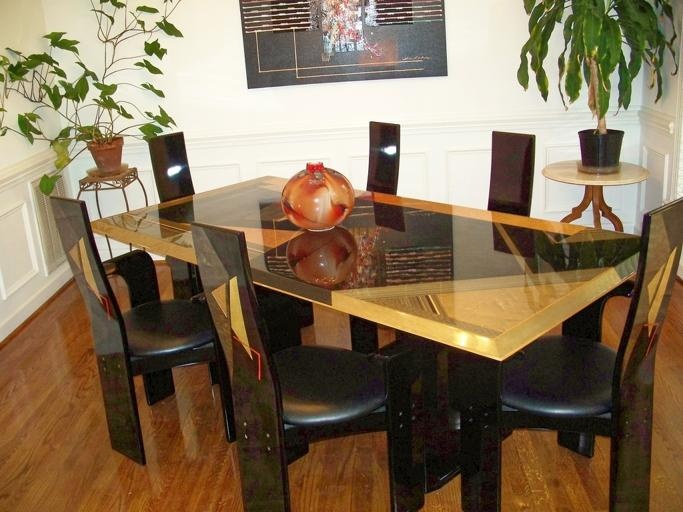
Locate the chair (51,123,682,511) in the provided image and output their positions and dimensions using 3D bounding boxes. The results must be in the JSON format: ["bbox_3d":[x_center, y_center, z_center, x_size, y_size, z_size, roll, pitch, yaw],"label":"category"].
[{"bbox_3d":[0.092,0.277,2.456,1.703,0.859,1.005,14,26,39],"label":"chair"}]
